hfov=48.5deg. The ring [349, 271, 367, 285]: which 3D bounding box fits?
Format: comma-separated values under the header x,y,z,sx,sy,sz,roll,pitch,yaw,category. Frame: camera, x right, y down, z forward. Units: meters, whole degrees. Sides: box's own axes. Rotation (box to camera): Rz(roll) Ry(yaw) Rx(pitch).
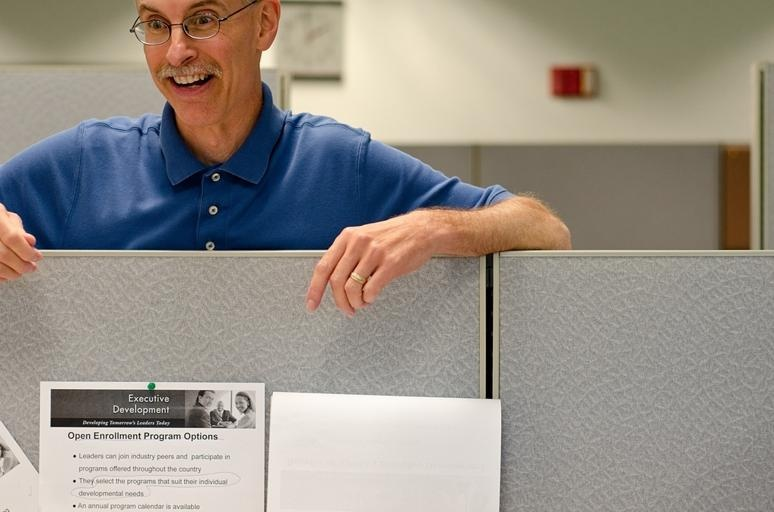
x,y,z,sx,sy,sz,roll,pitch,yaw,category
-0.066,0.050,1.957,0.024,0.031,0.028,12,6,31,ring
